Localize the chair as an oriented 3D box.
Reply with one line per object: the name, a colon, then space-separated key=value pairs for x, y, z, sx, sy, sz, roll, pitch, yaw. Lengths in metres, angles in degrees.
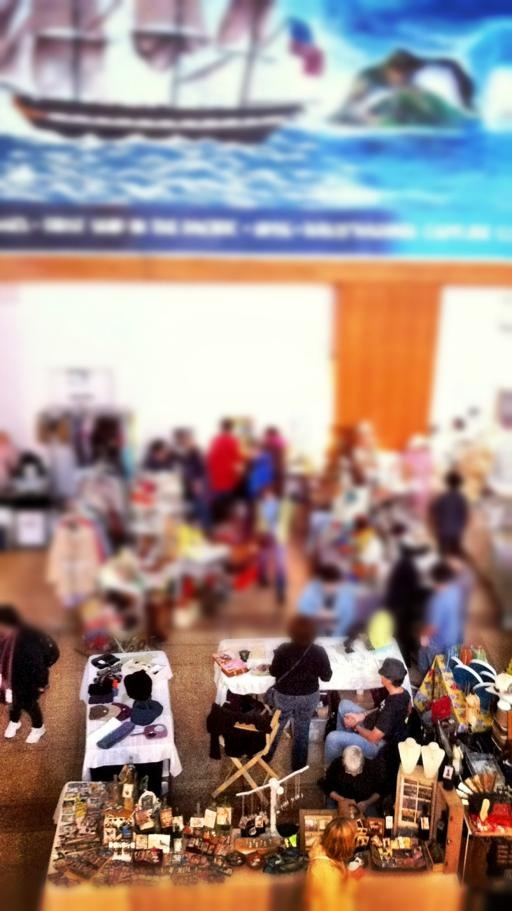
chair: x=-0.075 y=1.934 z=4.470 sx=0.401 sy=0.549 sz=0.426 roll=0 pitch=9 yaw=1
